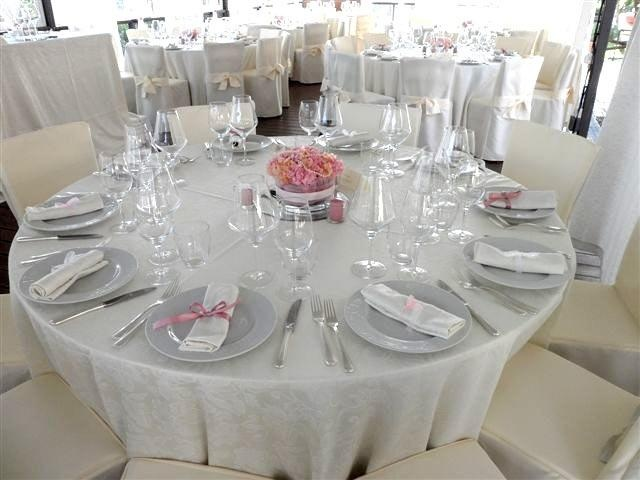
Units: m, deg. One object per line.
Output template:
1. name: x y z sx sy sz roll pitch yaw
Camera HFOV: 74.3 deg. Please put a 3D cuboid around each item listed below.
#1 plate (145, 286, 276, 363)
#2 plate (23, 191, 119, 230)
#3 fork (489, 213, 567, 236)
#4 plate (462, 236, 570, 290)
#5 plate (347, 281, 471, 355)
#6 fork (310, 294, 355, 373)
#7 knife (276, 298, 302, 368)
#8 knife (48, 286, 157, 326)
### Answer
1. plate: -0.299 0.223 1.164 0.352 0.050 0.254 0 30 -3
2. plate: -0.926 -0.090 1.629 0.203 0.023 0.212 16 37 15
3. fork: 0.798 -0.057 1.636 0.198 0.032 0.036 14 55 15
4. plate: 0.643 0.106 1.380 0.299 0.049 0.327 1 12 20
5. plate: 0.244 0.207 1.194 0.348 0.052 0.258 6 30 8
6. fork: 0.029 0.237 1.149 0.057 0.028 0.237 -2 42 -10
7. knife: -0.088 0.250 1.165 0.025 0.012 0.231 14 39 1
8. knife: -0.640 0.196 1.229 0.026 0.009 0.200 27 38 30
